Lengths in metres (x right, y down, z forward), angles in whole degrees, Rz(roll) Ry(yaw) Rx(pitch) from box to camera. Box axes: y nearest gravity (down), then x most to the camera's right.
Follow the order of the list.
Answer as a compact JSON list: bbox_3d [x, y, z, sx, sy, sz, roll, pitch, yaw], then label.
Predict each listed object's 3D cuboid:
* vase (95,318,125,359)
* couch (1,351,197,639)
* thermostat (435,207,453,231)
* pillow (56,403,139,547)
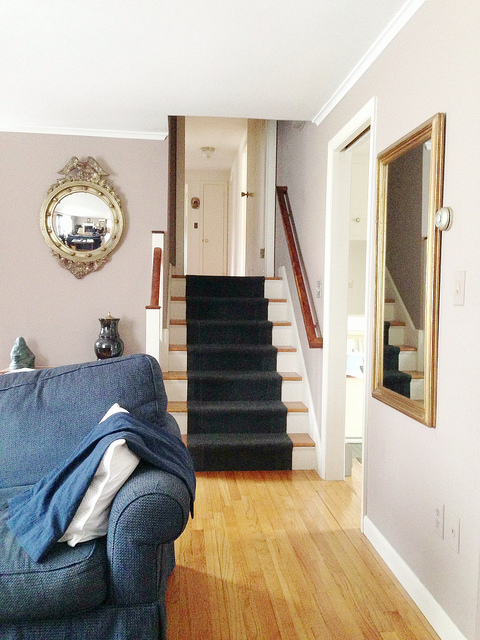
[{"bbox_3d":[-0.996,0.155,3.819,0.193,0.355,0.219,-4,-4,19],"label":"vase"},{"bbox_3d":[-0.463,0.499,1.584,0.619,0.693,0.809,-1,3,-17],"label":"couch"},{"bbox_3d":[0.658,-0.331,1.608,0.050,0.066,0.058,1,12,-12],"label":"thermostat"},{"bbox_3d":[-0.399,0.425,1.319,0.065,0.252,0.218,26,-25,-27],"label":"pillow"}]
